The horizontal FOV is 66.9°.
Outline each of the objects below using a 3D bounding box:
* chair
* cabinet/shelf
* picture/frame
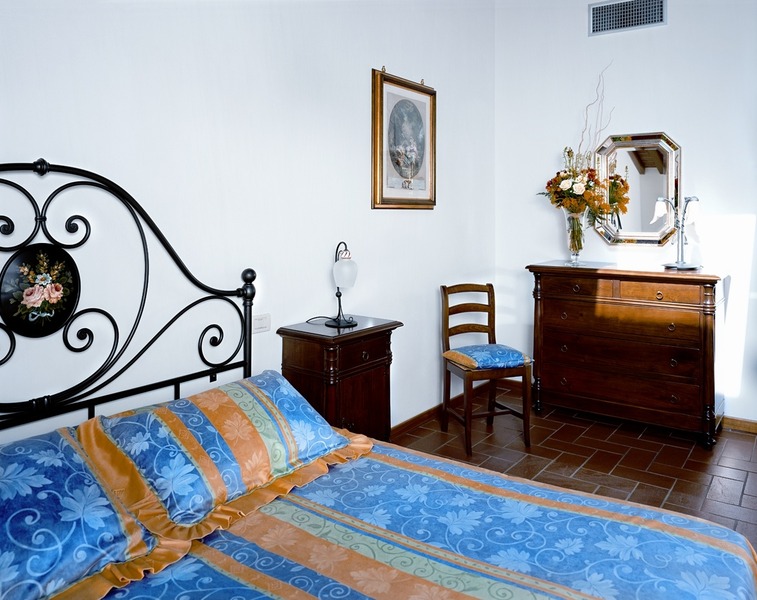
[{"bbox_3d":[0.717,0.452,4.023,0.612,1.085,0.621,-5,7,-36],"label":"chair"},{"bbox_3d":[1.746,0.390,3.953,1.063,1.018,0.466,3,6,36],"label":"cabinet/shelf"},{"bbox_3d":[0.147,-1.102,3.858,0.077,1.109,1.002,2,3,34],"label":"picture/frame"}]
